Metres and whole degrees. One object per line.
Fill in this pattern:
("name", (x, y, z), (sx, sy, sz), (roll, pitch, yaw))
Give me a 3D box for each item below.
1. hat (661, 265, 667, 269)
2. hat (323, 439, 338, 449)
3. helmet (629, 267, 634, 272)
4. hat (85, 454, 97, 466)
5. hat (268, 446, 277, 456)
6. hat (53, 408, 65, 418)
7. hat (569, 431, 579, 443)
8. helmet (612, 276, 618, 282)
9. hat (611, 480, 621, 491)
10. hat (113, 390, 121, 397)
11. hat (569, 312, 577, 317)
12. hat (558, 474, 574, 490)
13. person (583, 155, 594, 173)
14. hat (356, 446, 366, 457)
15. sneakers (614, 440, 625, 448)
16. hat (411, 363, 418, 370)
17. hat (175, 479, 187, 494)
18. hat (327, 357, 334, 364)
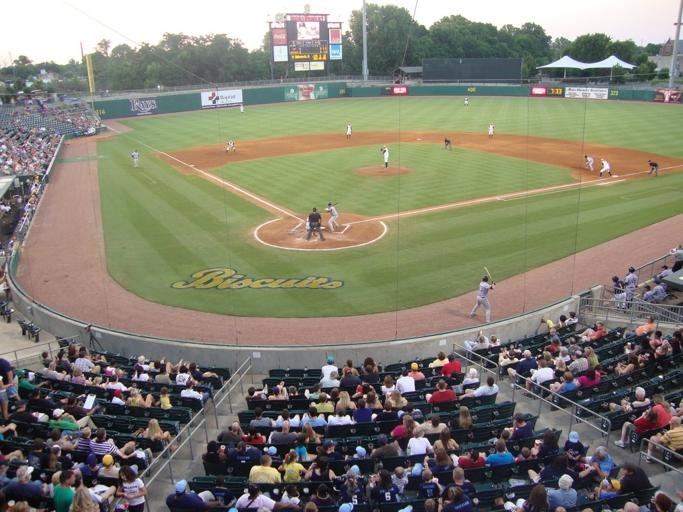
("hat", (14.596, 0.481, 34.554), (0.167, 0.177, 0.204), (-7, -5, -11))
("hat", (-0.301, 5.622, 22.997), (0.285, 0.176, 0.417), (17, 22, 42))
("helmet", (12.499, 0.579, 32.934), (0.257, 0.134, 0.312), (-3, 11, 0))
("hat", (-7.380, 5.979, 22.559), (0.282, 0.303, 0.326), (7, -25, 8))
("hat", (-2.111, 5.891, 23.299), (0.280, 0.366, 0.296), (-4, 18, -3))
("hat", (-8.968, 4.926, 24.164), (0.271, 0.174, 0.333), (0, 45, 30))
("hat", (6.919, 5.317, 22.772), (0.366, 0.122, 0.413), (2, 51, 15))
("helmet", (12.027, 0.988, 33.611), (0.253, 0.244, 0.292), (3, 26, 17))
("hat", (7.843, 6.478, 21.775), (0.245, 0.322, 0.200), (-6, 19, -7))
("hat", (-7.550, 4.592, 25.744), (0.228, 0.221, 0.244), (-3, -11, 23))
("hat", (9.211, 2.297, 30.478), (0.222, 0.242, 0.247), (-13, 42, 6))
("hat", (6.364, 6.356, 21.695), (0.367, 0.458, 0.297), (-1, 18, 6))
("person", (17.343, -6.409, 53.702), (0.912, 0.646, 1.670), (-11, -23, 21))
("hat", (0.601, 5.869, 23.141), (0.254, 0.354, 0.225), (-8, 19, -13))
("sneakers", (8.649, 5.796, 23.796), (0.152, 0.134, 0.333), (-11, 16, -13))
("hat", (2.579, 3.786, 26.648), (0.204, 0.224, 0.251), (14, 29, 21))
("hat", (-4.571, 6.525, 21.838), (0.283, 0.353, 0.358), (5, 19, 25))
("hat", (-0.395, 3.623, 27.062), (0.300, 0.272, 0.304), (3, 34, 0))
